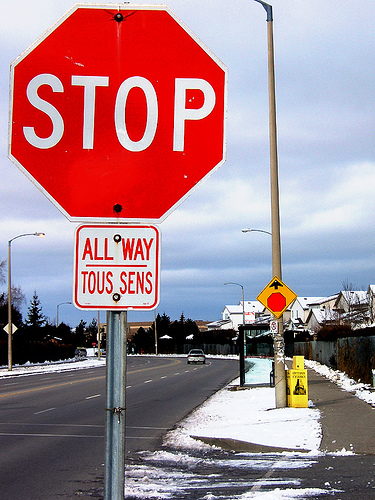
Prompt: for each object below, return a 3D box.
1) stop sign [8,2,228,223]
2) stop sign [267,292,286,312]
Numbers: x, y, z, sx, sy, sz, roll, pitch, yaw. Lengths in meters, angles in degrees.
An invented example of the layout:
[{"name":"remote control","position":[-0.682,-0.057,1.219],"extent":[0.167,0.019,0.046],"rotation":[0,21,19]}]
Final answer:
[{"name":"stop sign","position":[-0.328,-0.607,3.833],"extent":[0.955,1.252,0.039],"rotation":[0,1,3]},{"name":"stop sign","position":[1.823,1.035,16.384],"extent":[0.286,0.374,0.043],"rotation":[2,-7,-5]}]
